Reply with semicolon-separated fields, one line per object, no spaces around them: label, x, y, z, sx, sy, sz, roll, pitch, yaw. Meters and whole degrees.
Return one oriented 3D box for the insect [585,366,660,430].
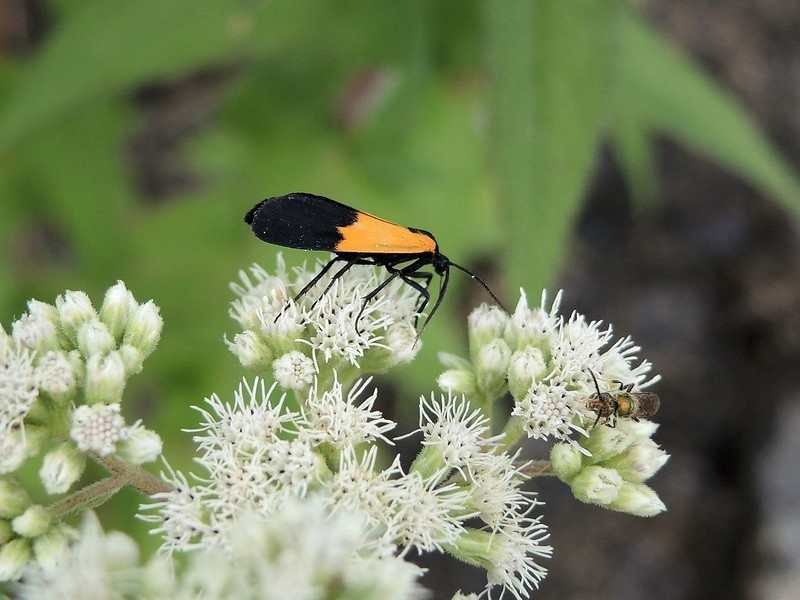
insect;1.325;0.630;5.577;0.396;0.329;0.114;0;4;-22
